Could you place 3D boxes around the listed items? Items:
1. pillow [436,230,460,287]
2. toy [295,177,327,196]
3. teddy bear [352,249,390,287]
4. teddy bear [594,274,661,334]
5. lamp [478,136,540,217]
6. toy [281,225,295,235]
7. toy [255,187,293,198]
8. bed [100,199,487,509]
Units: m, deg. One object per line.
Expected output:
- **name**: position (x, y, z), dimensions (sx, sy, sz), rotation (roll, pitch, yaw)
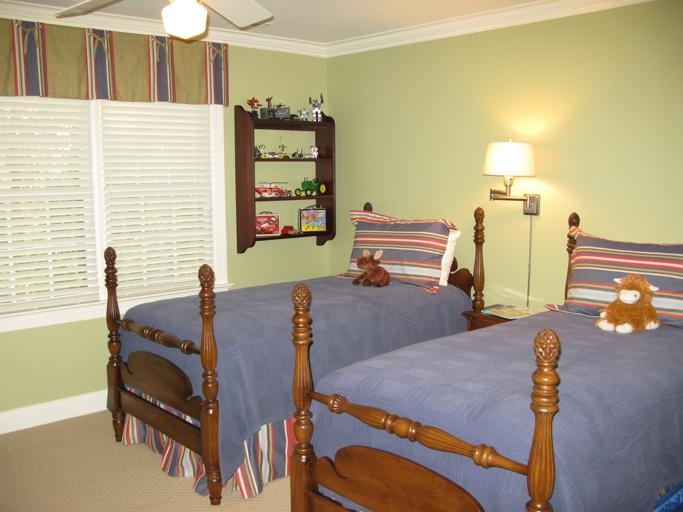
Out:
- **pillow**: position (0.865, 0.010, 4.287), dimensions (0.106, 0.385, 0.376), rotation (7, -16, -7)
- **toy**: position (-0.313, -0.690, 5.319), dimensions (0.277, 0.165, 0.166), rotation (-5, 6, -42)
- **teddy bear**: position (0.257, 0.121, 4.202), dimensions (0.295, 0.301, 0.245), rotation (7, 4, -14)
- **teddy bear**: position (1.660, 0.254, 3.147), dimensions (0.306, 0.360, 0.351), rotation (-4, 8, -40)
- **lamp**: position (1.301, -0.579, 4.056), dimensions (0.397, 0.566, 0.504), rotation (4, 12, 28)
- **toy**: position (-0.530, -0.250, 5.238), dimensions (0.104, 0.092, 0.103), rotation (2, 1, 23)
- **toy**: position (-0.667, -0.608, 5.088), dimensions (0.287, 0.084, 0.108), rotation (5, 24, -9)
- **bed**: position (-0.471, 0.552, 3.931), dimensions (2.019, 1.340, 1.270), rotation (-7, 11, -43)
